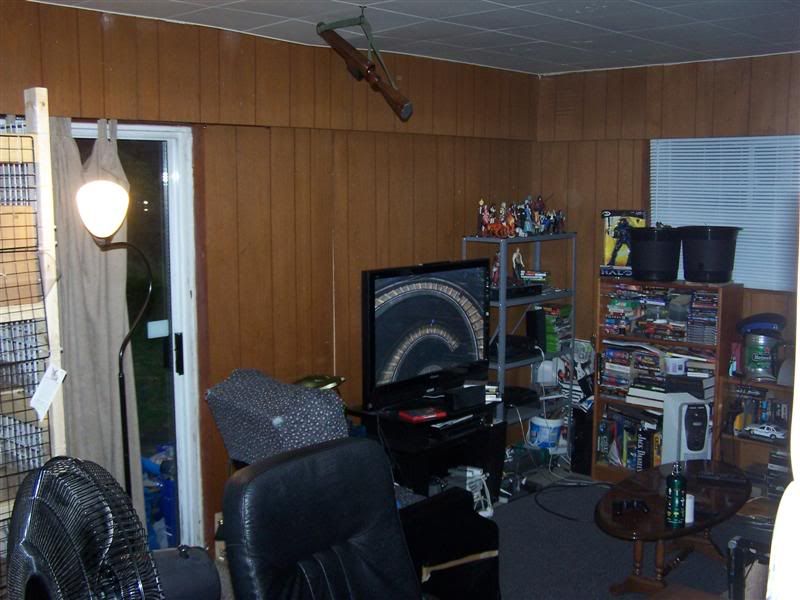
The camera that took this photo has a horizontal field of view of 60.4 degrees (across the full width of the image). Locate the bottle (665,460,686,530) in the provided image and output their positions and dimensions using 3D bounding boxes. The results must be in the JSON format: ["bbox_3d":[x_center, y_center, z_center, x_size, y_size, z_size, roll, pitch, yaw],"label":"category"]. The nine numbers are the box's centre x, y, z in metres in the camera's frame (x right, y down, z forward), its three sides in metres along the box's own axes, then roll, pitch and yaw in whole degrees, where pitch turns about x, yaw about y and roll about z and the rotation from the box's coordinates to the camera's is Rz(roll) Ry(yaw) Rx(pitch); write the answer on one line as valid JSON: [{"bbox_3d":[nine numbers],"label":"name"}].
[{"bbox_3d":[1.492,1.076,3.715,0.099,0.252,0.143,1,9,23],"label":"bottle"}]

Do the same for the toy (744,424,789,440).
[{"bbox_3d":[2.566,0.920,4.841,0.275,0.075,0.189,3,11,31],"label":"toy"}]

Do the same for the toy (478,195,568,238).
[{"bbox_3d":[1.003,-0.646,5.512,0.787,0.289,0.305,-9,11,-34],"label":"toy"}]

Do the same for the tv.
[{"bbox_3d":[0.190,0.223,4.722,1.150,0.886,0.118,-7,9,-40],"label":"tv"}]

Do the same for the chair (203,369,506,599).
[{"bbox_3d":[-0.224,0.798,3.008,1.265,0.876,0.489,4,11,34],"label":"chair"}]

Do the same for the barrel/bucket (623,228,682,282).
[{"bbox_3d":[1.895,-0.323,5.119,0.332,0.390,0.410,0,0,-8],"label":"barrel/bucket"}]

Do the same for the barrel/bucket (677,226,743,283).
[{"bbox_3d":[2.297,-0.321,5.089,0.418,0.403,0.411,-2,4,0],"label":"barrel/bucket"}]
